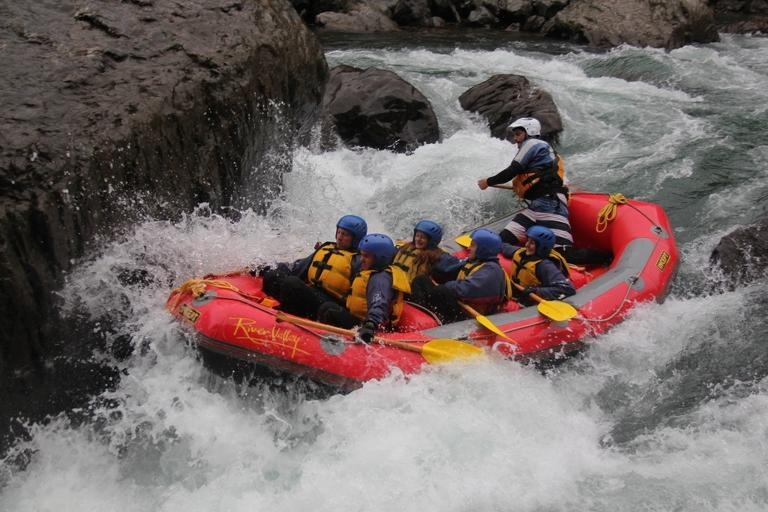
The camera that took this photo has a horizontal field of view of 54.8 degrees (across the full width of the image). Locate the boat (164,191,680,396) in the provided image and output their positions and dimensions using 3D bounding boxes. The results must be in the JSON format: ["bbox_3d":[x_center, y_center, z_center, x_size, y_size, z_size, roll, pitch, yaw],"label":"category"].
[{"bbox_3d":[0.777,0.670,8.294,4.853,1.007,2.581,-9,33,-10],"label":"boat"}]

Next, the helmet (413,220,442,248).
[{"bbox_3d":[0.563,-0.282,8.815,0.373,0.254,0.271,-4,22,-19],"label":"helmet"}]

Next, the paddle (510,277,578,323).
[{"bbox_3d":[1.851,0.531,8.464,0.231,0.094,0.687,-13,24,-18],"label":"paddle"}]

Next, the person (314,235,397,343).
[{"bbox_3d":[-0.315,0.404,8.079,0.589,0.728,0.961,14,17,-15],"label":"person"}]

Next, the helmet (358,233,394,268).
[{"bbox_3d":[-0.062,-0.086,8.208,0.451,0.313,0.314,-5,17,-16],"label":"helmet"}]

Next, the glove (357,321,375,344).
[{"bbox_3d":[-0.190,0.807,7.814,0.177,0.185,0.188,17,34,7],"label":"glove"}]

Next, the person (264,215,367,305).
[{"bbox_3d":[-0.837,0.082,8.671,0.615,0.707,0.940,22,12,-38],"label":"person"}]

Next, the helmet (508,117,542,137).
[{"bbox_3d":[1.885,-1.772,10.065,0.461,0.254,0.298,-5,15,3],"label":"helmet"}]

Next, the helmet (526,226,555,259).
[{"bbox_3d":[1.890,-0.168,8.827,0.415,0.324,0.291,18,9,5],"label":"helmet"}]

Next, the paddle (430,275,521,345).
[{"bbox_3d":[1.020,0.664,8.415,0.218,0.079,1.515,-41,27,-9],"label":"paddle"}]

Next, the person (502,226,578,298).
[{"bbox_3d":[1.918,0.101,9.043,0.484,0.759,0.693,21,11,-27],"label":"person"}]
